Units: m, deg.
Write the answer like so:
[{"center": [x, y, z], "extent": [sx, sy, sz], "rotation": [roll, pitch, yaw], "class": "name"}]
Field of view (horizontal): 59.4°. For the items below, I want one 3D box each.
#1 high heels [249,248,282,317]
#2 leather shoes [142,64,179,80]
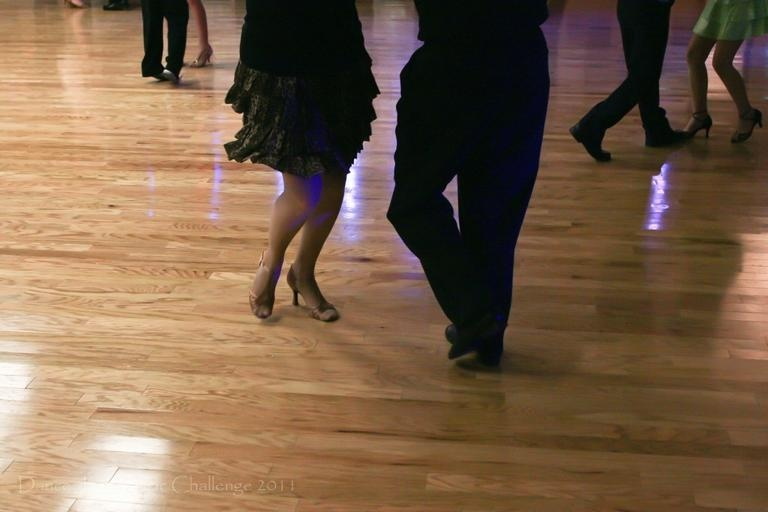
[{"center": [-0.480, 0.106, 2.729], "extent": [0.120, 0.271, 0.126], "rotation": [11, -14, -18], "class": "high heels"}, {"center": [-1.865, -1.533, 5.634], "extent": [0.379, 0.116, 0.110], "rotation": [1, 25, -16], "class": "leather shoes"}]
